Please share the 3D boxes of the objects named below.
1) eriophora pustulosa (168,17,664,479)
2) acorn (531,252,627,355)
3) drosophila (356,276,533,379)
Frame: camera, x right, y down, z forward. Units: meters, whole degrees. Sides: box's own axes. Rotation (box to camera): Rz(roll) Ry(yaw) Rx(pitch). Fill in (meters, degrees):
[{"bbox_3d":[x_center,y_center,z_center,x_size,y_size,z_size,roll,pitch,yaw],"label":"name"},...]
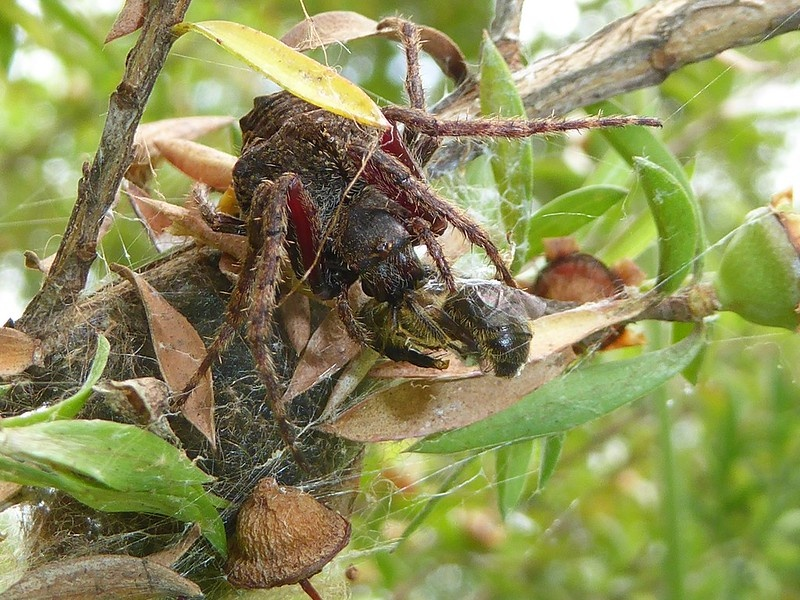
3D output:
[{"bbox_3d":[-0.044,-0.042,1.511,0.630,0.727,0.247,58,-23,20],"label":"eriophora pustulosa"},{"bbox_3d":[0.303,-0.026,1.570,0.158,0.181,0.114,10,23,25],"label":"acorn"},{"bbox_3d":[0.088,0.023,1.488,0.173,0.172,0.241,-2,9,-34],"label":"drosophila"}]
